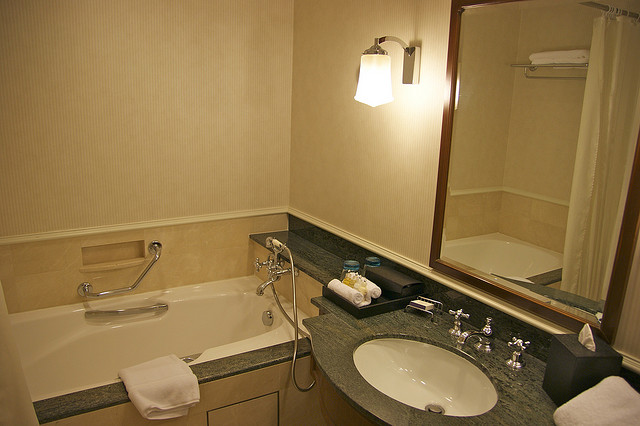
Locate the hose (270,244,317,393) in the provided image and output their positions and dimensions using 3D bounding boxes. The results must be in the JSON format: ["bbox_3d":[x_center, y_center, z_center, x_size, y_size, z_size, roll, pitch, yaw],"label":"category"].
[{"bbox_3d":[-0.175,0.585,2.663,0.129,0.256,0.906,8,52,-26],"label":"hose"}]

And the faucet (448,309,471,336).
[{"bbox_3d":[0.682,0.532,2.218,0.113,0.123,0.112,6,8,44],"label":"faucet"}]

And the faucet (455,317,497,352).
[{"bbox_3d":[0.733,0.569,2.086,0.219,0.152,0.105,-1,15,-26],"label":"faucet"}]

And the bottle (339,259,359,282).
[{"bbox_3d":[0.176,0.325,2.575,0.093,0.092,0.226,0,18,7],"label":"bottle"}]

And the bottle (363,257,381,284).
[{"bbox_3d":[0.300,0.325,2.568,0.099,0.074,0.242,-1,18,7],"label":"bottle"}]
